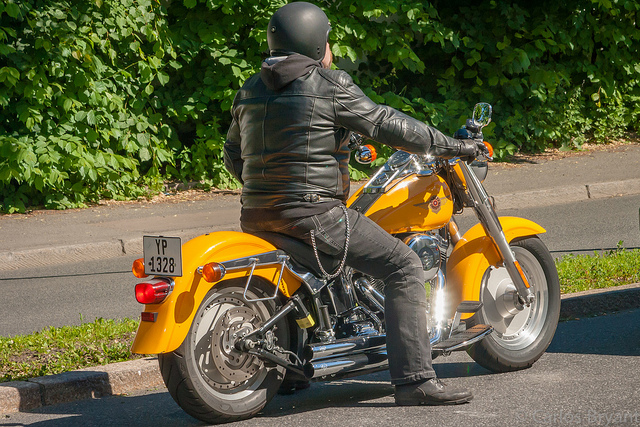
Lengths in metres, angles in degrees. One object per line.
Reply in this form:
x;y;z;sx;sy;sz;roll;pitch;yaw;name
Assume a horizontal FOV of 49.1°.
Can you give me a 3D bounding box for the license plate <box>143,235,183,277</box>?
-1.203;0.328;5.335;0.015;0.314;0.387;-10;-11;32;license plate
